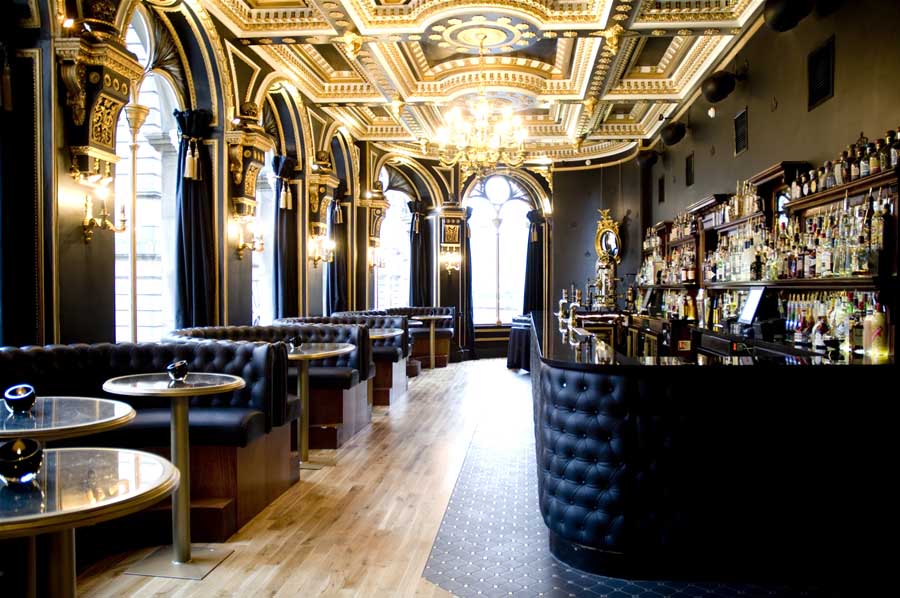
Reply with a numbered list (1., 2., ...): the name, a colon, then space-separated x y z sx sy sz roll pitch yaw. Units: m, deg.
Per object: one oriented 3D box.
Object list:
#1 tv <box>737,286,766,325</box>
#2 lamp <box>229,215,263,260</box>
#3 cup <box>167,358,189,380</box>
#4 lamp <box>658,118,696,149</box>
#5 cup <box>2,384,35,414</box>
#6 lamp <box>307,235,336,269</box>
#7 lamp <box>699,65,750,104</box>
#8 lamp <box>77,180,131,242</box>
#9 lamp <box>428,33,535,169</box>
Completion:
1. tv: 3.286 0.075 7.644 0.026 0.383 0.373 21 -12 4
2. lamp: -2.649 -0.814 9.159 0.232 0.568 0.573 1 8 8
3. cup: -2.241 0.582 5.793 0.178 0.172 0.147 3 2 17
4. lamp: 3.628 -2.674 11.355 0.588 0.573 0.460 2 4 14
5. cup: -2.888 0.664 4.769 0.188 0.150 0.207 3 10 0
6. lamp: -2.139 -0.810 11.789 0.396 0.735 0.721 0 -1 11
7. lamp: 3.660 -2.863 9.275 0.495 0.512 1.003 5 10 32
8. lamp: -3.324 -0.855 6.836 0.266 0.557 0.416 2 8 12
9. lamp: 0.467 -2.854 10.999 1.436 2.465 1.495 0 -4 1
